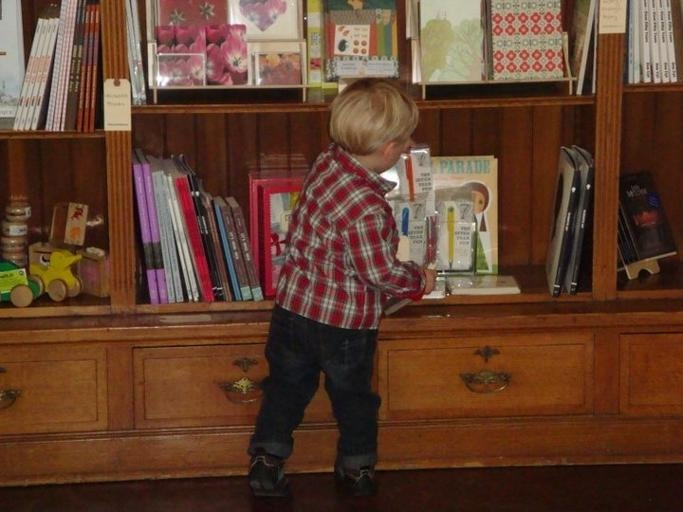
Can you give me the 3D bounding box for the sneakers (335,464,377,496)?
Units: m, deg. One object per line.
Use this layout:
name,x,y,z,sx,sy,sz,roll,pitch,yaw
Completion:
sneakers,0.056,0.764,2.470,0.082,0.076,0.163,-2,11,-19

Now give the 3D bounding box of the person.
person,0.001,0.153,2.425,0.568,1.405,0.520,0,15,-20

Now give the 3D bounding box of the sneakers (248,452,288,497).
sneakers,-0.247,0.736,2.458,0.090,0.094,0.199,1,7,3
